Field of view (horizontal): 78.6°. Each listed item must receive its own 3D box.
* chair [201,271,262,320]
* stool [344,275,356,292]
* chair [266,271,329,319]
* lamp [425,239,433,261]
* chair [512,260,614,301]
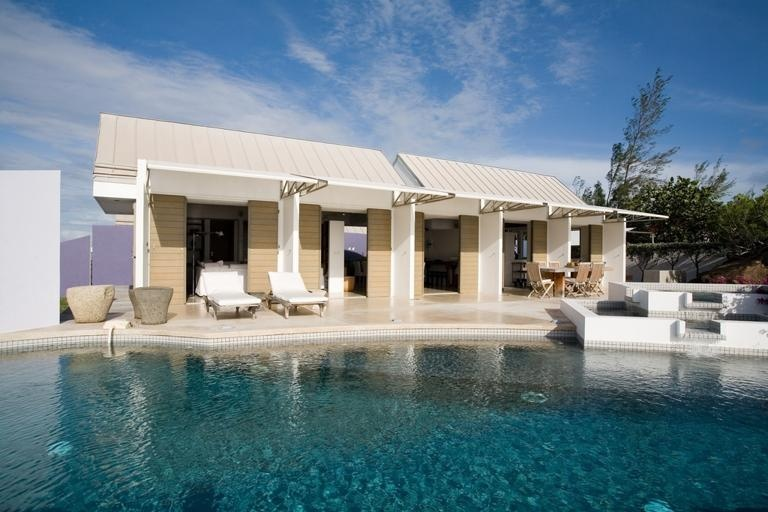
[{"bbox_3d":[-4.082,1.001,12.312,1.109,0.819,2.076,-2,6,-32],"label":"chair"},{"bbox_3d":[-1.354,1.051,17.956,0.535,0.533,0.894,-1,-4,-1],"label":"stool"},{"bbox_3d":[-2.443,0.986,12.656,1.190,0.876,1.858,-2,8,-37],"label":"chair"},{"bbox_3d":[2.140,-0.355,22.660,0.233,0.892,0.625,0,-2,-14],"label":"lamp"},{"bbox_3d":[6.520,0.838,16.766,3.328,1.200,1.705,1,-3,-32],"label":"chair"}]
